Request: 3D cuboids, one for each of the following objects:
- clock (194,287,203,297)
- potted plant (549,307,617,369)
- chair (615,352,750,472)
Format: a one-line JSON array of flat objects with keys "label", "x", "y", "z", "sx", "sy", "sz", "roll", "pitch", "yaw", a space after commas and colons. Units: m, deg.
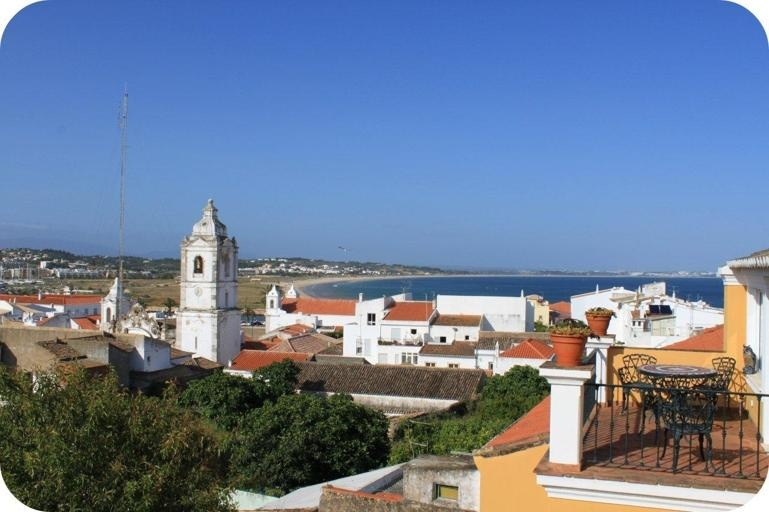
[{"label": "clock", "x": -12.158, "y": 2.360, "z": 52.759, "sx": 0.579, "sy": 0.534, "sz": 0.125, "roll": -2, "pitch": -2, "yaw": 5}, {"label": "potted plant", "x": 3.975, "y": 1.640, "z": 16.254, "sx": 0.950, "sy": 0.710, "sz": 1.925, "roll": 2, "pitch": 3, "yaw": 26}, {"label": "chair", "x": 5.853, "y": 3.055, "z": 16.082, "sx": 2.112, "sy": 1.227, "sz": 2.607, "roll": 1, "pitch": -2, "yaw": -1}]
